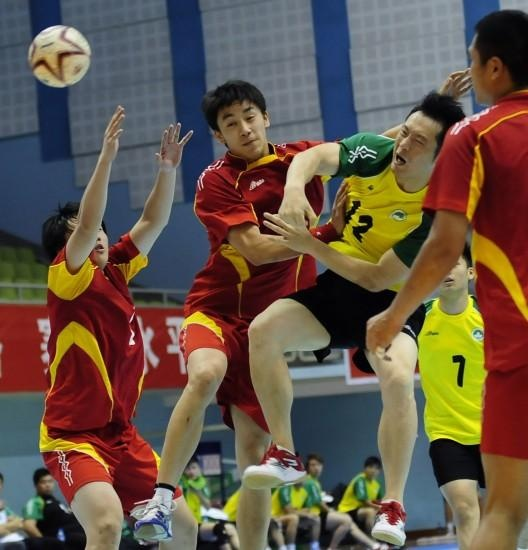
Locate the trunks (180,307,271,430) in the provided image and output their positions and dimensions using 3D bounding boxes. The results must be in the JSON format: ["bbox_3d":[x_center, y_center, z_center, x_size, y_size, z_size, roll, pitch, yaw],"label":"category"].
[{"bbox_3d":[-0.156,0.400,4.287,0.348,0.567,0.274,-14,6,16],"label":"trunks"}]

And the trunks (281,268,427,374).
[{"bbox_3d":[0.329,0.143,3.970,0.467,0.172,0.457,18,-44,-16],"label":"trunks"}]

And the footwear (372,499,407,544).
[{"bbox_3d":[0.495,0.987,3.764,0.129,0.181,0.232,-5,-2,14],"label":"footwear"}]

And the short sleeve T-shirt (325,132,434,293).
[{"bbox_3d":[0.479,-0.247,3.851,0.330,0.569,0.577,-4,10,-42],"label":"short sleeve T-shirt"}]

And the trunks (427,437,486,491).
[{"bbox_3d":[0.989,0.987,4.910,0.255,0.244,0.298,-5,-2,9],"label":"trunks"}]

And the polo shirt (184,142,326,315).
[{"bbox_3d":[-0.047,-0.206,4.321,0.665,0.707,0.474,-5,-1,-6],"label":"polo shirt"}]

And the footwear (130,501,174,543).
[{"bbox_3d":[-0.478,1.019,3.988,0.140,0.151,0.315,-3,-28,3],"label":"footwear"}]

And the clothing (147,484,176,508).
[{"bbox_3d":[-0.421,0.892,3.928,0.060,0.104,0.097,-5,5,4],"label":"clothing"}]

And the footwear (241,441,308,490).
[{"bbox_3d":[0.039,0.759,3.808,0.296,0.145,0.118,10,-29,-36],"label":"footwear"}]

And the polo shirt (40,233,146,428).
[{"bbox_3d":[-0.784,0.258,4.493,0.328,0.737,0.569,-6,-2,38],"label":"polo shirt"}]
